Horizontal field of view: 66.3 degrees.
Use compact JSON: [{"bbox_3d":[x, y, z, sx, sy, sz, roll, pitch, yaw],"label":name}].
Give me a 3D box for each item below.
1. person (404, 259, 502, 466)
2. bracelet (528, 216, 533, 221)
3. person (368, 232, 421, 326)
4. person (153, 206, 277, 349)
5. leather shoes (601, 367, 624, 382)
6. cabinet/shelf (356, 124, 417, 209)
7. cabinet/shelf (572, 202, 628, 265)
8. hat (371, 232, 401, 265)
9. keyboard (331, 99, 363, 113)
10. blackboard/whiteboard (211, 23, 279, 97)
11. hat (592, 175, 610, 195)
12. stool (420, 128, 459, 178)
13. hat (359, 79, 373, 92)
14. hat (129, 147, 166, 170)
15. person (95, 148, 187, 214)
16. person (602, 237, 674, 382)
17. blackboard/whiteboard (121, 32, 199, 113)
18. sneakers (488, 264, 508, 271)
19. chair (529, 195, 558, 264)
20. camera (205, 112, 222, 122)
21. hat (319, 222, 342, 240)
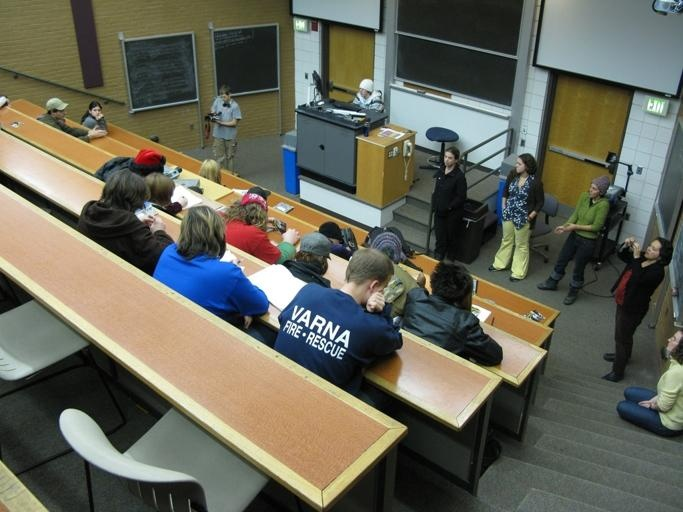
[{"bbox_3d":[0.738,0.598,3.624,0.553,1.367,0.777,32,57,28],"label":"person"},{"bbox_3d":[2.660,-0.542,7.377,0.050,0.053,0.053,15,43,27],"label":"bracelet"},{"bbox_3d":[0.391,0.167,3.939,0.321,0.779,0.452,16,60,16],"label":"person"},{"bbox_3d":[-0.837,0.154,3.401,0.478,0.817,0.474,34,49,7],"label":"person"},{"bbox_3d":[3.153,1.375,6.143,0.263,0.199,0.110,7,32,22],"label":"leather shoes"},{"bbox_3d":[0.700,-1.485,8.643,0.649,1.041,0.872,29,44,31],"label":"cabinet/shelf"},{"bbox_3d":[3.646,-0.319,7.417,0.447,0.736,0.602,26,47,33],"label":"cabinet/shelf"},{"bbox_3d":[0.442,-0.117,5.290,0.249,0.356,0.349,-2,27,0],"label":"hat"},{"bbox_3d":[0.106,-2.650,9.184,0.329,0.097,0.365,20,21,25],"label":"keyboard"},{"bbox_3d":[-2.163,-4.383,11.445,1.795,1.730,0.301,-15,29,-32],"label":"blackboard/whiteboard"},{"bbox_3d":[3.460,-0.940,6.988,0.156,0.256,0.424,20,30,33],"label":"hat"},{"bbox_3d":[1.904,-1.976,9.784,0.578,0.666,0.541,-9,19,-42],"label":"stool"},{"bbox_3d":[0.475,-3.213,9.749,0.235,0.198,0.528,3,26,-1],"label":"hat"},{"bbox_3d":[-1.922,-0.987,5.321,0.219,0.143,0.316,3,24,-2],"label":"hat"},{"bbox_3d":[-1.859,-0.690,4.822,0.691,0.677,0.500,36,45,16],"label":"person"},{"bbox_3d":[3.526,0.704,6.197,0.472,1.803,0.734,10,38,20],"label":"person"},{"bbox_3d":[-3.782,-3.856,10.731,1.382,1.491,0.149,-15,28,-33],"label":"blackboard/whiteboard"},{"bbox_3d":[2.395,0.177,7.961,0.236,0.112,0.099,3,27,11],"label":"sneakers"},{"bbox_3d":[3.075,-0.466,8.022,0.443,0.806,0.486,18,30,30],"label":"chair"},{"bbox_3d":[-2.399,-2.613,9.776,0.264,0.108,0.197,4,18,-10],"label":"camera"},{"bbox_3d":[-0.108,-0.270,5.247,0.201,0.143,0.153,13,22,-11],"label":"hat"}]
